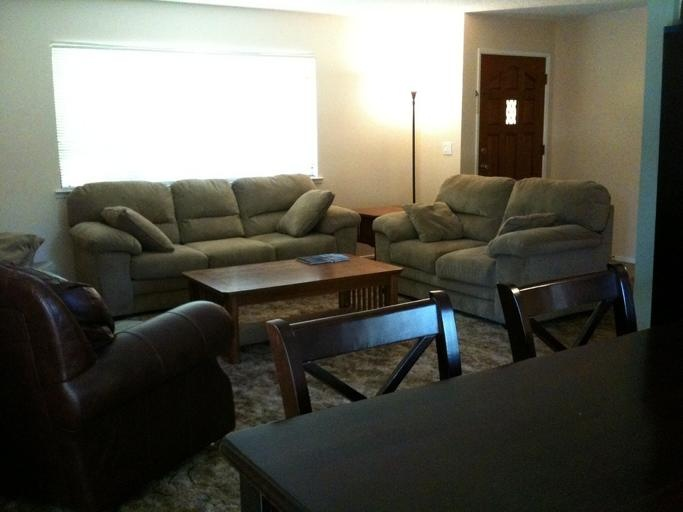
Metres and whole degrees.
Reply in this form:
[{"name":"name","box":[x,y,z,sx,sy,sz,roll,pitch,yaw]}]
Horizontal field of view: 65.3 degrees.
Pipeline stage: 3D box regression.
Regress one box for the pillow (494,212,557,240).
[{"name":"pillow","box":[1.403,-0.258,4.064,0.278,0.101,0.275,-14,12,-42]}]

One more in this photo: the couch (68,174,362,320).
[{"name":"couch","box":[-1.161,-0.161,5.198,2.642,1.095,1.019,-8,13,-38]}]

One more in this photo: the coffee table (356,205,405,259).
[{"name":"coffee table","box":[0.424,-0.304,6.066,0.532,0.548,0.530,-5,11,-33]}]

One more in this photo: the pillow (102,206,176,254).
[{"name":"pillow","box":[-1.818,-0.208,4.657,0.750,0.218,0.732,-24,9,-18]}]
